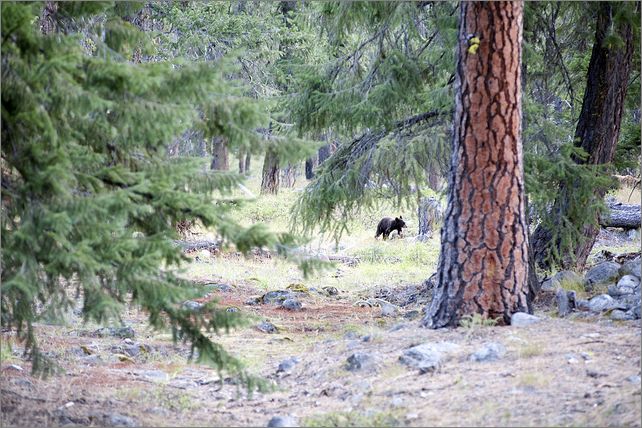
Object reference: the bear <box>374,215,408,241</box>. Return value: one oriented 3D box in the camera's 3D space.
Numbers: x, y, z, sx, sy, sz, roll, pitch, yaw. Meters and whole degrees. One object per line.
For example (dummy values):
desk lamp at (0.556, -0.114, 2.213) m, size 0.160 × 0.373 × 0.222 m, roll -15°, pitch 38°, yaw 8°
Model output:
bear at (2.138, 0.396, 25.886) m, size 0.452 × 0.860 × 1.413 m, roll 0°, pitch -8°, yaw -39°
